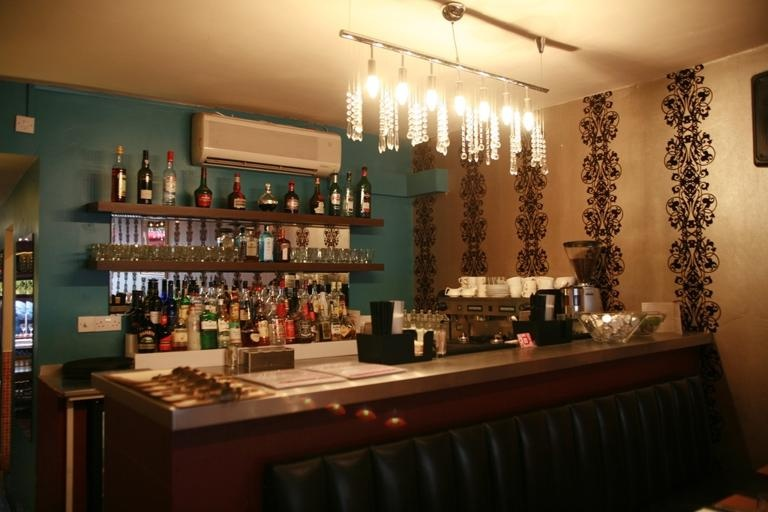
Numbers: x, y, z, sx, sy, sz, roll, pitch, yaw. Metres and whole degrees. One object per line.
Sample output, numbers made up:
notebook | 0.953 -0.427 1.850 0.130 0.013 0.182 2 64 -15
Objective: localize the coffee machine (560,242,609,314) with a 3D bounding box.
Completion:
coffee machine | 1.629 0.163 4.892 0.290 0.616 0.644 -3 -2 20

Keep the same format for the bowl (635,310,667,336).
bowl | 1.950 0.512 4.482 0.223 0.137 0.219 1 -10 0

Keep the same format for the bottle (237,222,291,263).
bottle | -1.115 -0.121 5.466 0.118 0.265 0.358 -6 -8 40

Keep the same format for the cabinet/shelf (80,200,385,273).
cabinet/shelf | -1.253 -0.125 5.586 2.787 0.526 0.411 1 -5 -37
